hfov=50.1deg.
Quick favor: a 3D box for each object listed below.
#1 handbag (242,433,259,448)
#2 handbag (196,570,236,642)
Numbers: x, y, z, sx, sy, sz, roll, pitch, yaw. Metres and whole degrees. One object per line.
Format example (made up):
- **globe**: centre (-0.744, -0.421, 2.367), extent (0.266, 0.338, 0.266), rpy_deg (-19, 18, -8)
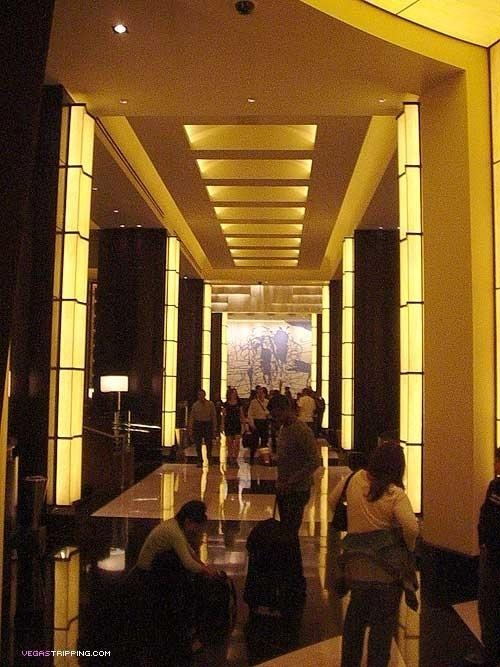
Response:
- **handbag**: centre (0.004, 2.498, 12.221), extent (0.331, 0.416, 0.362), rpy_deg (-1, 4, -23)
- **handbag**: centre (-0.223, 1.727, 3.366), extent (0.172, 0.404, 0.250), rpy_deg (-2, -7, 6)
